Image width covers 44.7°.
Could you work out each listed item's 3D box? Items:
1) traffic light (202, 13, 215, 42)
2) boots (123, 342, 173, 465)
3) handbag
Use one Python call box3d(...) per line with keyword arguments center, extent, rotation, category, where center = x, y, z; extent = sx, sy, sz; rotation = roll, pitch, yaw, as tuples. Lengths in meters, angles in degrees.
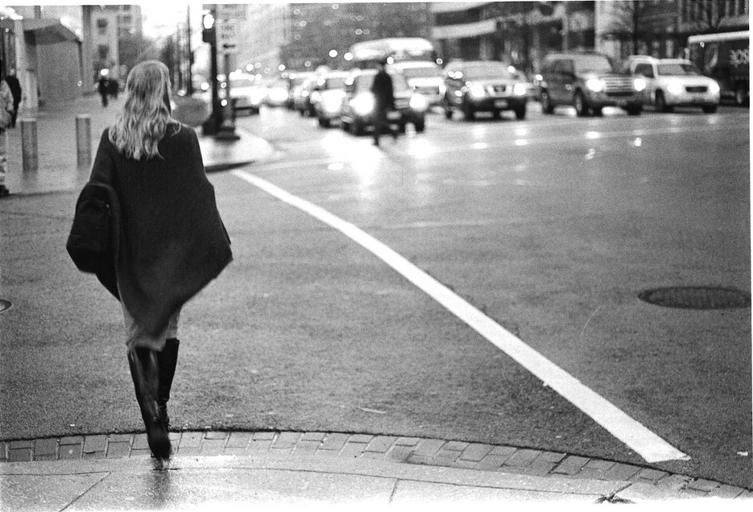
box3d(center=(-1.921, -2.607, 10.452), extent=(0.185, 0.362, 0.209), rotation=(3, 45, -8), category="traffic light")
box3d(center=(-1.751, 0.994, 7.095), extent=(0.291, 0.299, 1.159), rotation=(-15, 47, -20), category="boots")
box3d(center=(-2.178, -0.203, 6.973), extent=(0.250, 0.365, 0.589), rotation=(3, 60, -9), category="handbag")
